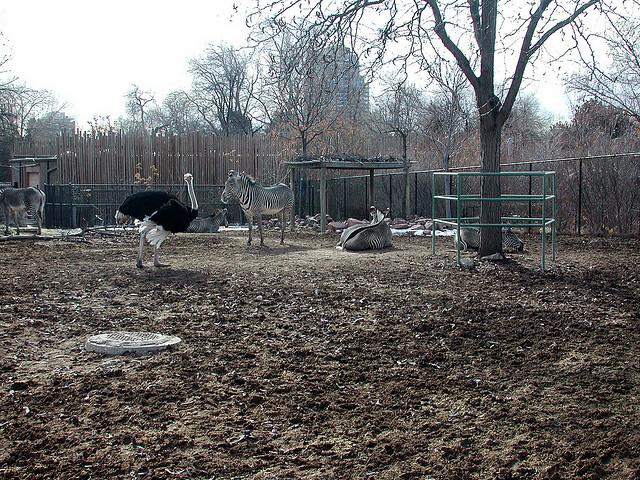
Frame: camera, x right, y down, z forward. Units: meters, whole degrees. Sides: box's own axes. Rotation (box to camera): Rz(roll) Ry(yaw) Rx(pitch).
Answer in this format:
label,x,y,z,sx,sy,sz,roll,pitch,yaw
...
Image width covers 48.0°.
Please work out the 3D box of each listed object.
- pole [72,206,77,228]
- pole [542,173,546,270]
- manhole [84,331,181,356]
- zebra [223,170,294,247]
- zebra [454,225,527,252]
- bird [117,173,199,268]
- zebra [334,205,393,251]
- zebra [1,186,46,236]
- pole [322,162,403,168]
label,x,y,z,sx,sy,sz,roll,pitch,yaw
pole,-8.588,-0.807,25.376,0.089,0.754,0.804,-3,2,-16
pole,3.837,-0.139,12.378,0.077,1.321,0.601,-1,2,17
manhole,-2.228,1.253,8.702,1.086,0.189,0.585,-2,2,4
zebra,-1.566,-0.785,18.749,0.686,1.890,2.430,6,6,44
zebra,3.474,-0.018,14.921,1.414,0.736,0.427,3,-8,9
bird,-2.871,-0.306,12.816,1.319,1.120,0.768,-2,2,-5
zebra,1.078,-0.275,17.001,1.298,0.879,0.901,-9,14,-42
zebra,-7.827,-0.757,19.125,1.556,1.255,0.851,0,3,43
pole,1.397,-2.345,22.568,3.308,0.179,0.422,-3,2,-34
